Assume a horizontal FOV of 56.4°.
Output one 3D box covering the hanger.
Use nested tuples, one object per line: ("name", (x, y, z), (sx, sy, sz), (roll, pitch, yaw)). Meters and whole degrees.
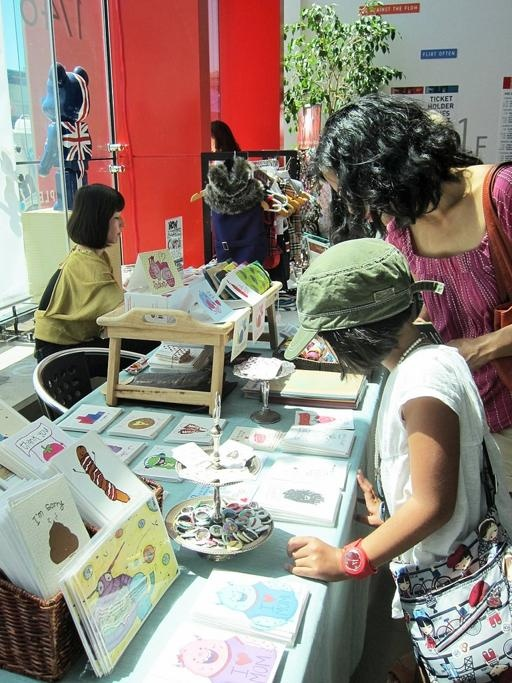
("hanger", (0.013, -0.848, 2.627), (0.567, 0.318, 0.272), (-5, 13, -20))

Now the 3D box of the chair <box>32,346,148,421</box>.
("chair", (-0.655, 0.164, 1.890), (0.212, 0.276, 0.235), (13, 42, 11))

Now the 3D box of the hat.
("hat", (0.178, -0.087, 0.871), (0.238, 0.122, 0.163), (-26, 13, 7))

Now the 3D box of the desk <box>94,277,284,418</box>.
("desk", (-0.280, -0.013, 1.723), (0.381, 0.283, 0.600), (4, 18, 8))
